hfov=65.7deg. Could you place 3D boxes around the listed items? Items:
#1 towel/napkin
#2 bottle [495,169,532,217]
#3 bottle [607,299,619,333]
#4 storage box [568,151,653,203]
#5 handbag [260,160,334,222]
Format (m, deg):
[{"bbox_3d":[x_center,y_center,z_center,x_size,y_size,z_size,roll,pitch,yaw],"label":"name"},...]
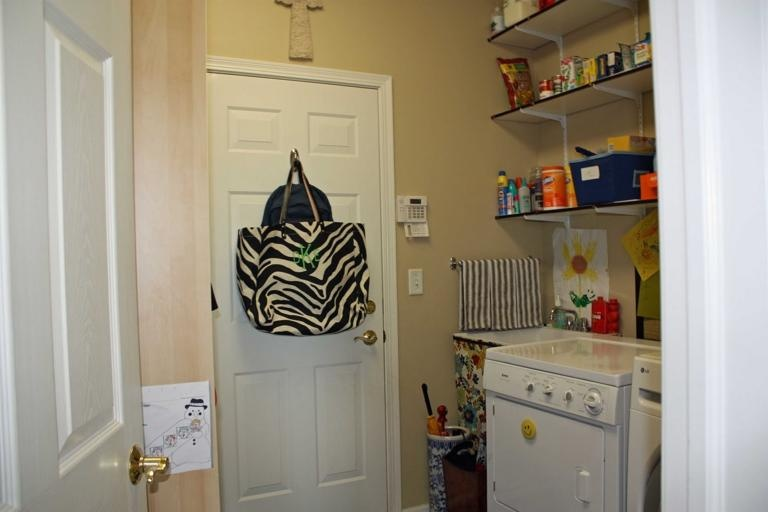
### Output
[{"bbox_3d":[0.543,0.187,2.870,0.319,0.245,0.066,0,-7,-18],"label":"towel/napkin"},{"bbox_3d":[0.630,-0.301,2.888,0.190,0.276,0.090,-11,-16,44],"label":"bottle"},{"bbox_3d":[1.025,0.267,2.620,0.064,0.146,0.028,-1,-4,-16],"label":"bottle"},{"bbox_3d":[0.877,-0.306,2.347,0.236,0.160,0.188,-4,-1,-34],"label":"storage box"},{"bbox_3d":[-0.382,-0.270,2.488,0.233,0.237,0.093,2,-19,-18],"label":"handbag"}]
